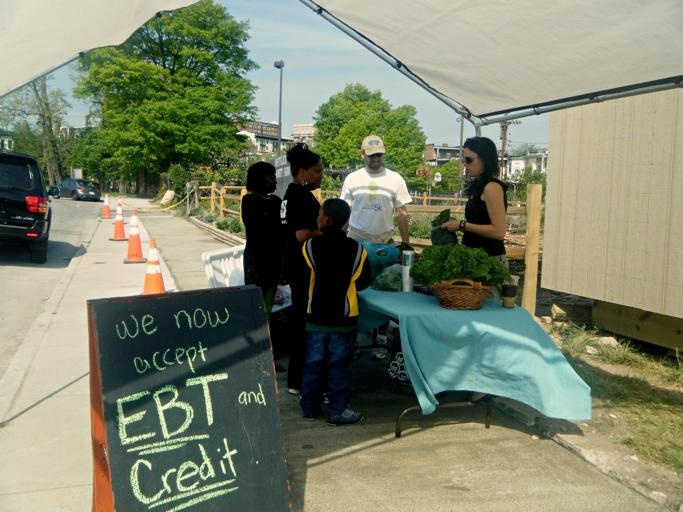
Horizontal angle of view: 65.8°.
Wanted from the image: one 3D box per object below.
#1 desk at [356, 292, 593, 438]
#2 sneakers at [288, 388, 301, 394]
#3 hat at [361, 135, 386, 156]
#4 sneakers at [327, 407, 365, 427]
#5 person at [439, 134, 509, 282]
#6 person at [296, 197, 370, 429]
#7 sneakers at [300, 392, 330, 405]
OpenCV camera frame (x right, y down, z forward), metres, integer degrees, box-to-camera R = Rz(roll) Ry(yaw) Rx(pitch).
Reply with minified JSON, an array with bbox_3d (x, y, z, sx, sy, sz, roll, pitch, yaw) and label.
[{"bbox_3d":[1.538,0.813,4.764,1.946,0.558,2.675,-17,-4,-16],"label":"desk"},{"bbox_3d":[-0.455,1.298,5.084,0.118,0.070,0.041,5,6,27],"label":"sneakers"},{"bbox_3d":[0.318,-1.167,5.555,0.199,0.125,0.257,-3,10,-7],"label":"hat"},{"bbox_3d":[0.029,1.370,4.495,0.325,0.126,0.118,0,1,-12],"label":"sneakers"},{"bbox_3d":[1.232,-0.498,4.649,0.670,1.093,0.560,-8,15,-40],"label":"person"},{"bbox_3d":[-0.073,0.479,4.394,0.558,1.872,0.346,5,12,15],"label":"person"},{"bbox_3d":[-0.237,1.219,4.523,0.192,0.157,0.157,-2,-10,7],"label":"sneakers"}]
